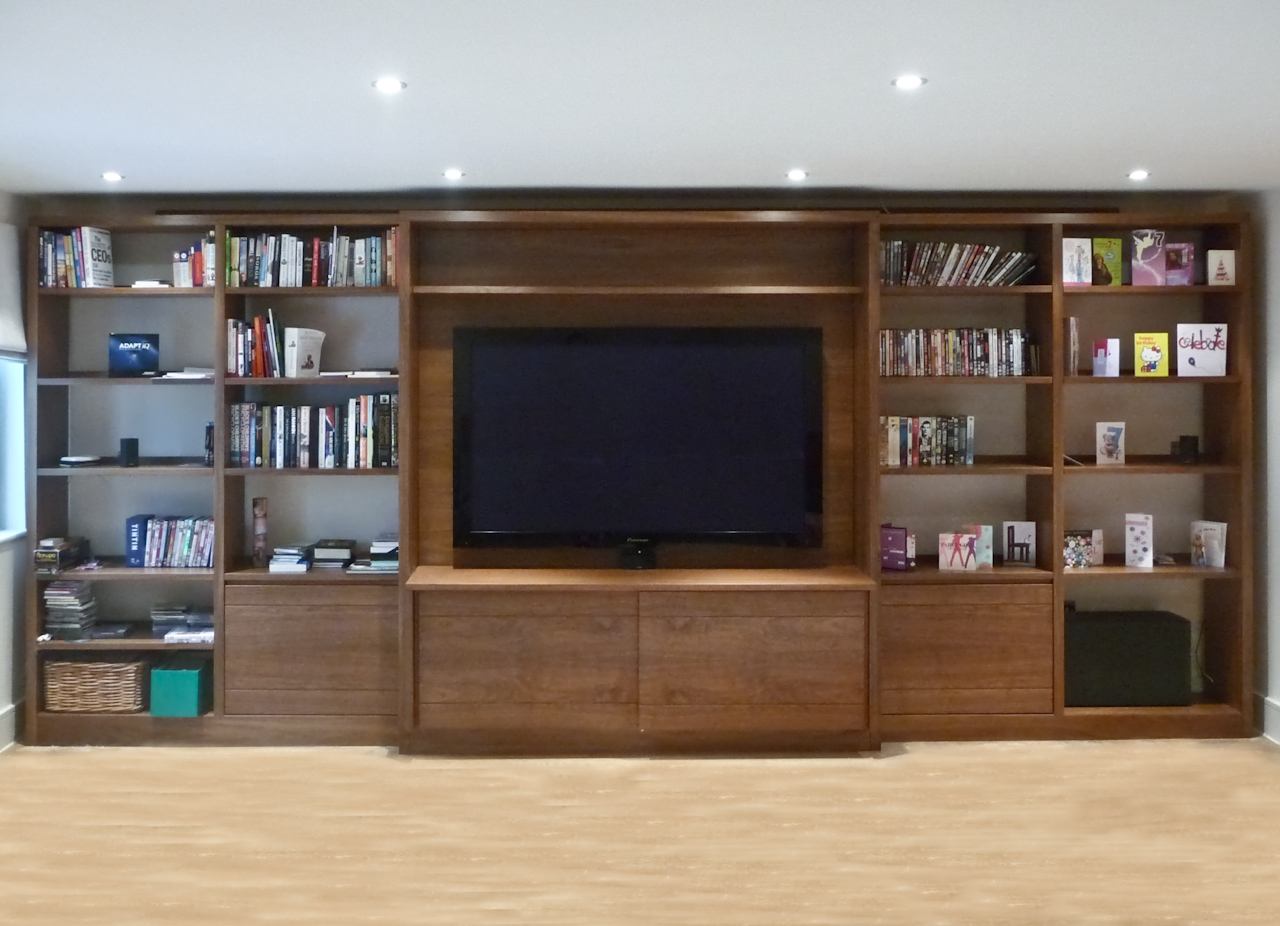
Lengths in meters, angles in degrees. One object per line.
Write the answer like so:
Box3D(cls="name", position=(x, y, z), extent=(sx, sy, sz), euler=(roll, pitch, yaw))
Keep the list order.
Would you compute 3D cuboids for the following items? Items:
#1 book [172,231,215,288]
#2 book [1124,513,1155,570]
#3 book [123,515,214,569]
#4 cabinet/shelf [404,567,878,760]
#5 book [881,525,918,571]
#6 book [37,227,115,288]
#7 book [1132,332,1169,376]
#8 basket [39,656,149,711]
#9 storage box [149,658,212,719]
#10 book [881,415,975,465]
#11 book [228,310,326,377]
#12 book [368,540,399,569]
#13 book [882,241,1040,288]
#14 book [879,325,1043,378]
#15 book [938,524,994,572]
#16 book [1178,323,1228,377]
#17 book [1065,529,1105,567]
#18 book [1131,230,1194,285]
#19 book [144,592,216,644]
Box3D(cls="book", position=(-2.220, -1.004, 5.963), extent=(0.257, 0.284, 0.136), euler=(-2, 0, -1))
Box3D(cls="book", position=(2.517, 0.389, 6.049), extent=(0.008, 0.265, 0.142), euler=(-1, 1, -44))
Box3D(cls="book", position=(-2.351, 0.403, 6.019), extent=(0.442, 0.262, 0.257), euler=(1, 2, -5))
Box3D(cls="cabinet/shelf", position=(0.044, 1.046, 6.103), extent=(2.359, 0.852, 0.701), euler=(-2, -5, 9))
Box3D(cls="book", position=(1.295, 0.429, 6.034), extent=(0.123, 0.205, 0.218), euler=(-1, 3, -33))
Box3D(cls="book", position=(-2.782, -0.980, 6.073), extent=(0.411, 0.373, 0.286), euler=(1, 6, -5))
Box3D(cls="book", position=(2.553, -0.540, 5.987), extent=(0.234, 0.290, 0.031), euler=(1, 6, 8))
Box3D(cls="basket", position=(-2.731, 1.086, 5.966), extent=(0.406, 0.184, 0.263), euler=(0, -2, -3))
Box3D(cls="storage box", position=(-2.282, 1.127, 6.082), extent=(0.265, 0.235, 0.368), euler=(7, 0, 6))
Box3D(cls="book", position=(1.432, -0.113, 5.991), extent=(0.440, 0.262, 0.073), euler=(-2, 0, 10))
Box3D(cls="book", position=(-1.828, -0.568, 6.049), extent=(0.332, 0.393, 0.433), euler=(1, 5, 6))
Box3D(cls="book", position=(-1.269, 0.451, 5.955), extent=(0.142, 0.082, 0.139), euler=(-2, -1, 8))
Box3D(cls="book", position=(1.574, -0.987, 5.959), extent=(0.761, 0.235, 0.069), euler=(-2, 0, -2))
Box3D(cls="book", position=(1.572, -0.550, 5.966), extent=(0.778, 0.230, 0.251), euler=(-1, 0, -4))
Box3D(cls="book", position=(1.640, 0.432, 6.021), extent=(0.234, 0.199, 0.078), euler=(1, 5, 7))
Box3D(cls="book", position=(2.800, -0.557, 5.968), extent=(0.268, 0.281, 0.039), euler=(1, 1, 5))
Box3D(cls="book", position=(2.238, 0.427, 6.053), extent=(0.189, 0.149, 0.058), euler=(0, -2, -1))
Box3D(cls="book", position=(2.597, -1.014, 5.980), extent=(0.311, 0.264, 0.101), euler=(0, 4, 4))
Box3D(cls="book", position=(-2.302, 0.801, 6.079), extent=(0.292, 0.062, 0.271), euler=(7, 11, 4))
